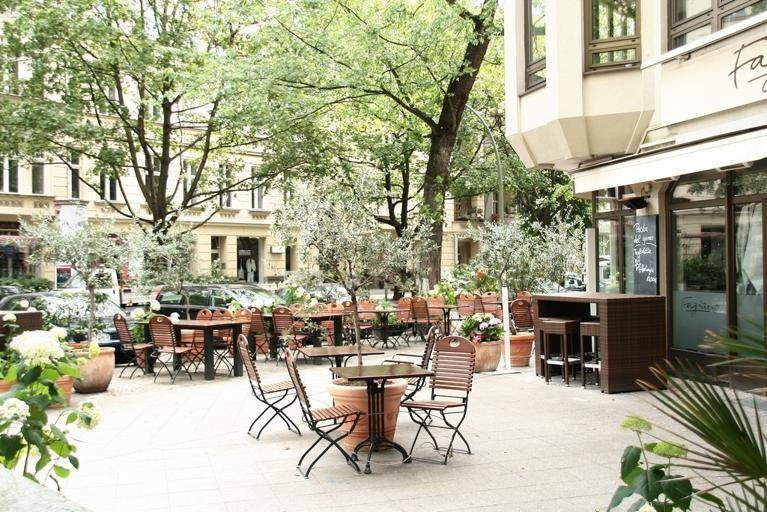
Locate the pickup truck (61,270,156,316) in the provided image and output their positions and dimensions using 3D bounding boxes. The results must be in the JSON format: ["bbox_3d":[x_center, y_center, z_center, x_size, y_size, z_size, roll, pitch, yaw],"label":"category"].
[{"bbox_3d":[-7.300,0.952,15.770,1.388,1.179,2.867,3,-3,34],"label":"pickup truck"}]

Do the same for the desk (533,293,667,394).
[{"bbox_3d":[4.028,1.541,12.229,2.752,2.270,3.057,2,-3,-27],"label":"desk"}]

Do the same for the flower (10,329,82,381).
[{"bbox_3d":[-2.601,0.753,4.663,0.472,0.419,0.505,3,-1,-44],"label":"flower"}]

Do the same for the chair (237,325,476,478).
[{"bbox_3d":[-0.642,1.734,8.664,2.364,2.150,2.166,1,-4,-15],"label":"chair"}]
